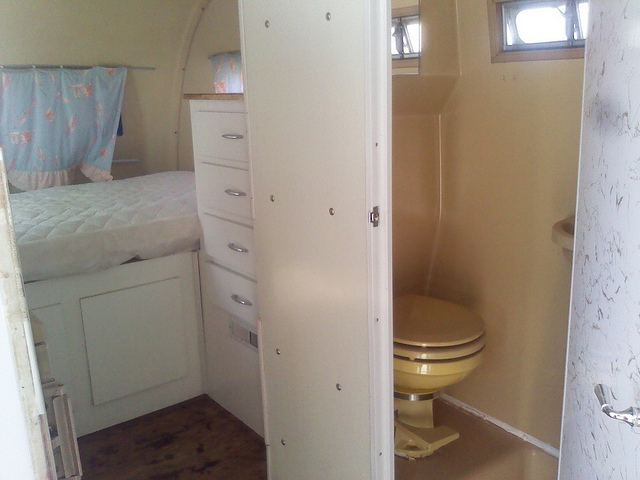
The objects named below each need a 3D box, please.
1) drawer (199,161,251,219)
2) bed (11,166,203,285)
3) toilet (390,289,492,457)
[{"bbox_3d":[-0.402,-0.225,2.197,0.127,0.140,0.207,-20,30,-41],"label":"drawer"},{"bbox_3d":[-0.883,-0.005,2.667,1.008,0.170,0.786,-9,4,18],"label":"bed"},{"bbox_3d":[0.433,0.604,2.229,0.481,0.566,0.499,-1,10,-11],"label":"toilet"}]
